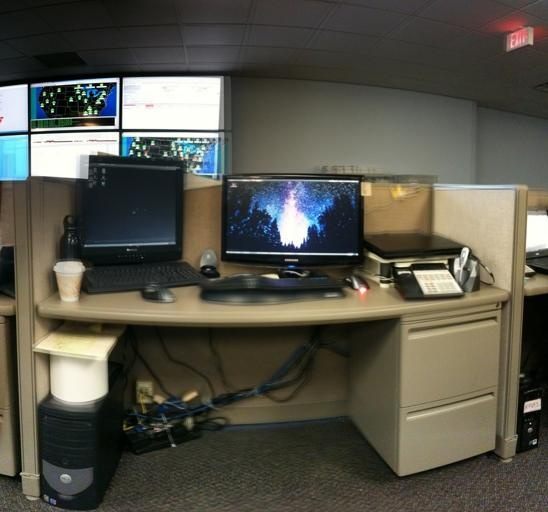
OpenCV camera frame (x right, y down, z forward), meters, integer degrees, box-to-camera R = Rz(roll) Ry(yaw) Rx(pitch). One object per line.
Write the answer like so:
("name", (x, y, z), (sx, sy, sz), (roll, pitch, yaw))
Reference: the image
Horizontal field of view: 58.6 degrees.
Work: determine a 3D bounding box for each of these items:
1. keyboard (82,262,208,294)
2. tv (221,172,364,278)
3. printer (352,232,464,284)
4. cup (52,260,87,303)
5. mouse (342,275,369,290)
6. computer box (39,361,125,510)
("keyboard", (-0.529, 0.083, 1.959), (0.452, 0.063, 0.236), (-6, 17, -20))
("tv", (0.078, -0.141, 2.044), (0.508, 0.313, 0.061), (0, 2, 0))
("printer", (0.548, -0.035, 2.076), (0.282, 0.096, 0.258), (-4, 17, -11))
("cup", (-0.729, 0.087, 1.760), (0.092, 0.145, 0.097), (4, 11, -1))
("mouse", (0.317, 0.109, 1.942), (0.118, 0.051, 0.097), (-4, 13, -16))
("computer box", (-0.724, 0.692, 1.903), (0.235, 0.427, 0.341), (2, 13, 13))
